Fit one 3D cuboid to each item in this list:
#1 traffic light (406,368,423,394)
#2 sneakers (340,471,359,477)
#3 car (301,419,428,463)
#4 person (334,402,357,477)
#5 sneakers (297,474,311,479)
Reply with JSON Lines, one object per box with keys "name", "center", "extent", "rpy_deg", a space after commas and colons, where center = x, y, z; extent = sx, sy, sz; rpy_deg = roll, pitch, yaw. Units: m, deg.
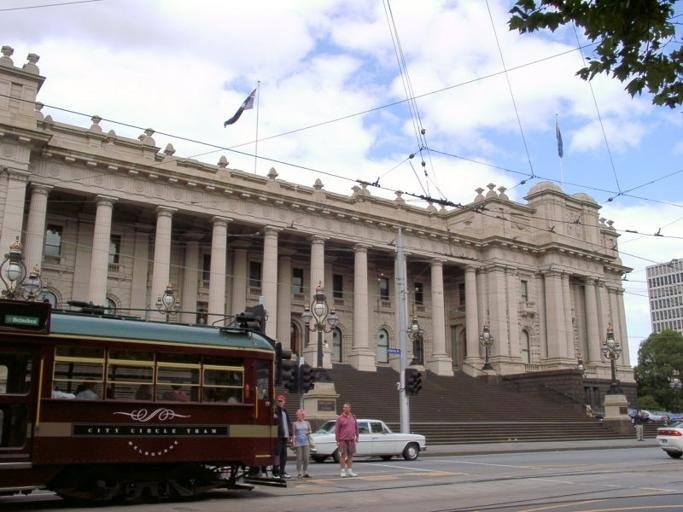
{"name": "traffic light", "center": [2.869, 5.052, 30.633], "extent": [0.616, 0.963, 1.551], "rpy_deg": [-3, -15, 5]}
{"name": "sneakers", "center": [0.178, 6.058, 21.344], "extent": [0.614, 0.233, 0.195], "rpy_deg": [-1, -10, 1]}
{"name": "car", "center": [0.862, 6.676, 27.246], "extent": [4.337, 1.294, 1.747], "rpy_deg": [3, -13, -25]}
{"name": "person", "center": [0.158, 5.148, 21.473], "extent": [0.541, 1.982, 0.822], "rpy_deg": [-2, -16, 0]}
{"name": "sneakers", "center": [-1.025, 6.166, 21.440], "extent": [0.370, 0.100, 0.127], "rpy_deg": [-2, -15, 4]}
